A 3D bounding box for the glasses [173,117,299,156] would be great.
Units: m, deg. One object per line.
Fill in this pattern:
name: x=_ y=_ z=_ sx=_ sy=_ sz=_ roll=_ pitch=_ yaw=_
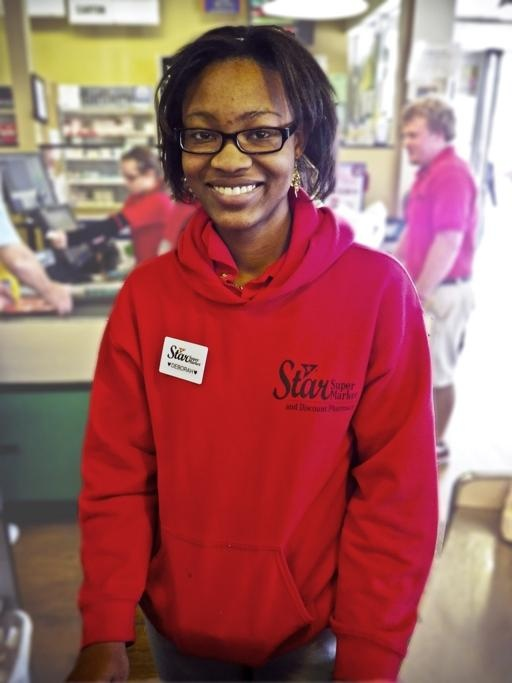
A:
glasses: x=-0.027 y=-0.279 z=0.858 sx=0.159 sy=0.043 sz=0.058 roll=0 pitch=22 yaw=-3
